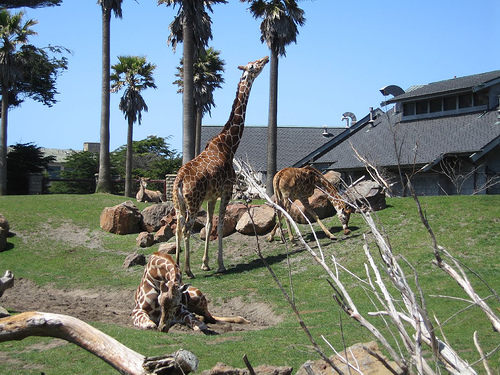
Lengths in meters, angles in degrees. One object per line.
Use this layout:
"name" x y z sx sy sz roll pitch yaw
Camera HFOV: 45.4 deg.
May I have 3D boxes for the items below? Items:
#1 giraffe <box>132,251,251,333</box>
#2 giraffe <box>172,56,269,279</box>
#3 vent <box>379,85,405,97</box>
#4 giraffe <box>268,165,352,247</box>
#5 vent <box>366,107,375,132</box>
"giraffe" -1.888 2.555 14.317 1.253 1.495 3.405 -3 -10 -4
"giraffe" -1.117 -0.697 18.487 0.967 5.524 2.990 2 1 36
"vent" 9.012 -6.008 37.376 1.977 0.688 0.864 1 0 -41
"giraffe" 1.873 0.590 19.952 2.436 2.386 2.526 1 0 0
"vent" 7.385 -4.111 36.380 0.415 1.419 2.444 1 0 12
